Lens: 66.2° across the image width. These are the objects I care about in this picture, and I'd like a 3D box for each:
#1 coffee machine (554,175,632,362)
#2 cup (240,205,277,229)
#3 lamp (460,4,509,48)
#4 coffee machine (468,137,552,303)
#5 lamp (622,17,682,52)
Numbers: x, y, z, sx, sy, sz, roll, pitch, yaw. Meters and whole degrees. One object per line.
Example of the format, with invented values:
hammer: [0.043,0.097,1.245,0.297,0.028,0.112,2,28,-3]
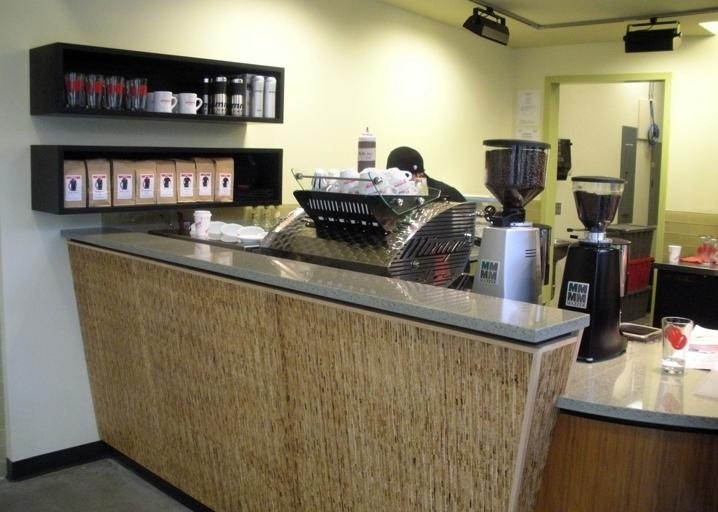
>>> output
coffee machine: [0.925,0.043,2.115,0.266,0.680,0.445,6,11,23]
cup: [-0.713,-0.293,4.000,0.335,0.180,0.325,5,8,-1]
lamp: [1.234,-2.187,5.191,0.259,0.310,0.578,8,12,34]
coffee machine: [0.598,-0.143,2.155,0.275,0.635,0.494,5,10,18]
lamp: [2.893,-2.175,5.460,0.501,0.311,0.440,5,10,17]
